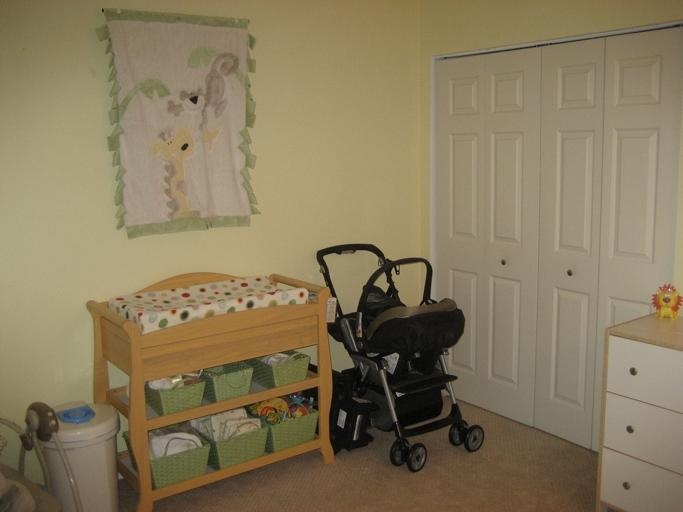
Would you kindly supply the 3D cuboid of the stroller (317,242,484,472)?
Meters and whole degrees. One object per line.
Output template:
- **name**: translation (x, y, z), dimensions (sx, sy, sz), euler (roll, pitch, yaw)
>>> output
- **stroller**: translation (0.348, 0.612, 3.577), dimensions (0.657, 1.323, 0.963), euler (-5, 5, -35)

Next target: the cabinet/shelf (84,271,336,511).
- **cabinet/shelf**: translation (-0.743, 0.785, 3.247), dimensions (1.351, 1.126, 0.618), euler (-9, 15, -30)
